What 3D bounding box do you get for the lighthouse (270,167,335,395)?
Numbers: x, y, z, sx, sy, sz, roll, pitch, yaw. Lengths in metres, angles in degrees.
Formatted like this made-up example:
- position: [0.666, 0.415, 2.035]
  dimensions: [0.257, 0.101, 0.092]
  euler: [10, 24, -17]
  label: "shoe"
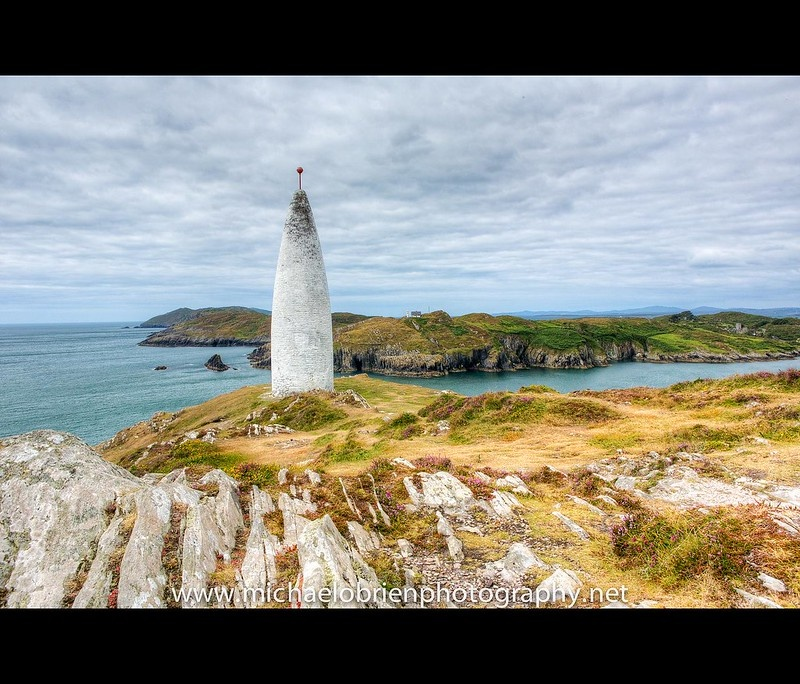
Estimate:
- position: [-7.703, -3.283, 39.022]
  dimensions: [4.524, 11.822, 2.748]
  euler: [-6, 3, -15]
  label: "lighthouse"
